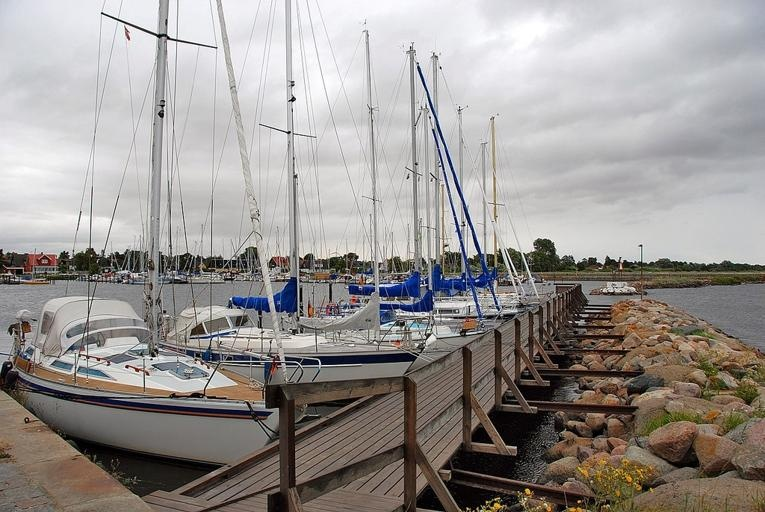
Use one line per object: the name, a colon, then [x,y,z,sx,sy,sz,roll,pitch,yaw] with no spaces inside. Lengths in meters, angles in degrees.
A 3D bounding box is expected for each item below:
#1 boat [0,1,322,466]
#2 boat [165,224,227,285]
boat: [-6.421,-1.011,13.994,8.784,11.640,2.608,-5,-3,30]
boat: [-5.716,0.268,16.783,1.968,1.104,2.789,2,0,-13]
